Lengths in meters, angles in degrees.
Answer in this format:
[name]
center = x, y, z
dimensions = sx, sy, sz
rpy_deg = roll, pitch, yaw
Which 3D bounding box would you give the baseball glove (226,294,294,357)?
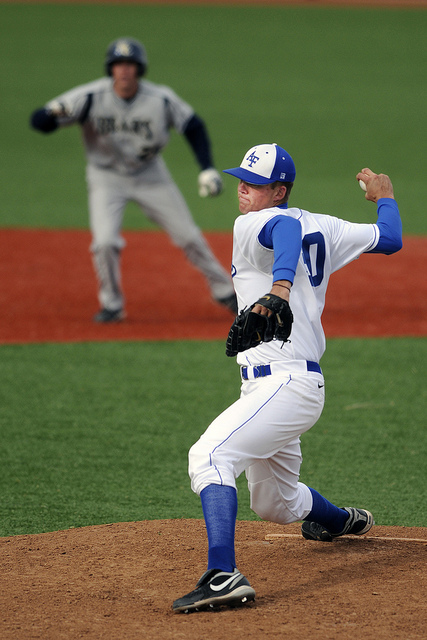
[baseball glove]
center = 0.135, 0.018, 2.555
dimensions = 0.215, 0.191, 0.165
rpy_deg = -1, 3, 10

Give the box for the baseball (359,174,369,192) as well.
[baseball]
center = 0.584, -0.524, 3.234
dimensions = 0.014, 0.040, 0.031
rpy_deg = -30, 19, -28

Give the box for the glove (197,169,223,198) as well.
[glove]
center = 0.005, -0.748, 4.626
dimensions = 0.161, 0.144, 0.113
rpy_deg = -3, -28, -31

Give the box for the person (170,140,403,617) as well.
[person]
center = 0.277, 0.146, 2.865
dimensions = 0.707, 1.536, 0.992
rpy_deg = -1, 3, 12
